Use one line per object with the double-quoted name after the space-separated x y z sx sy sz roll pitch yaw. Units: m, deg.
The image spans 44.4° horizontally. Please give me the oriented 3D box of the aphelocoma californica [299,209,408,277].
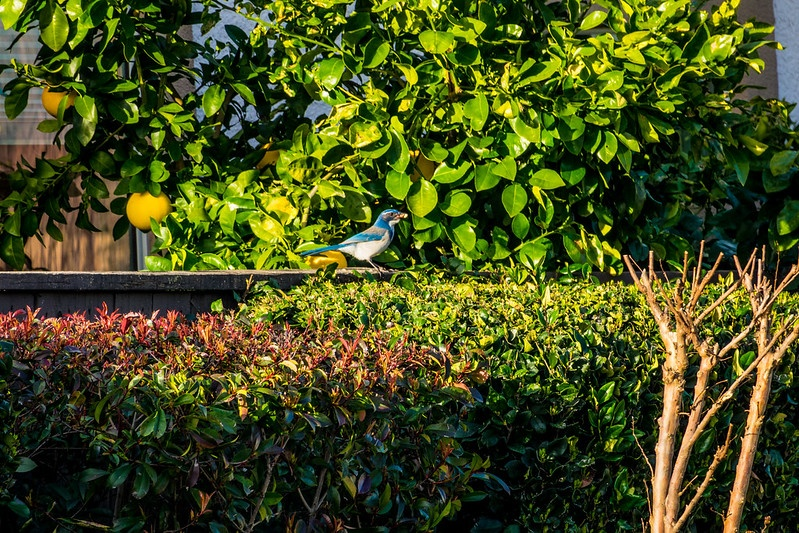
-0.280 -0.157 6.389 0.681 0.441 0.183 -1 -7 -8 "aphelocoma californica"
